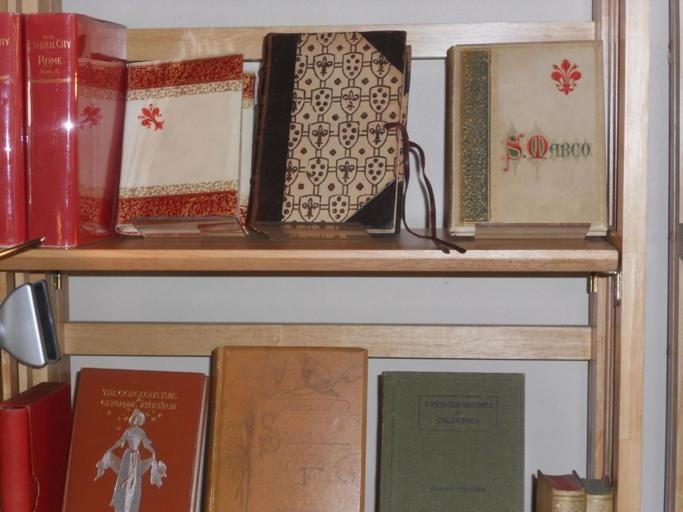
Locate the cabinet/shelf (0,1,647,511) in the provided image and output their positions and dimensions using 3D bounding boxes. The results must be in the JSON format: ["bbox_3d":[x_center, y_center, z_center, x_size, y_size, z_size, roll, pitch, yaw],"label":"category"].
[{"bbox_3d":[-0.014,-0.006,2.170,0.902,0.938,0.299,0,-1,7],"label":"cabinet/shelf"}]
